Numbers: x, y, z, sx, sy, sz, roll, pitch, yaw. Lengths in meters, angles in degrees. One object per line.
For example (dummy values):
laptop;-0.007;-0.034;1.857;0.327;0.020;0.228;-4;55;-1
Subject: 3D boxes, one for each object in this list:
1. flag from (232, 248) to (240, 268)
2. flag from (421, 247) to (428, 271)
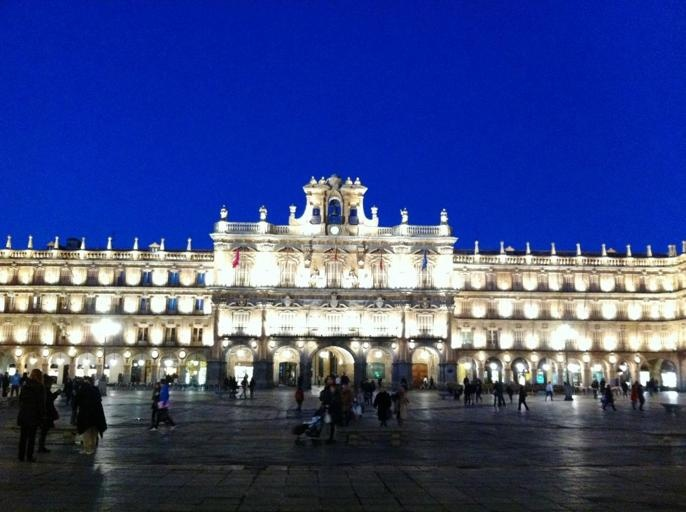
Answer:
flag;-9.588;0.209;78.769;0.693;1.678;1.083;-1;-12;-6
flag;7.466;0.359;79.752;0.578;1.761;1.550;-2;-12;-3
